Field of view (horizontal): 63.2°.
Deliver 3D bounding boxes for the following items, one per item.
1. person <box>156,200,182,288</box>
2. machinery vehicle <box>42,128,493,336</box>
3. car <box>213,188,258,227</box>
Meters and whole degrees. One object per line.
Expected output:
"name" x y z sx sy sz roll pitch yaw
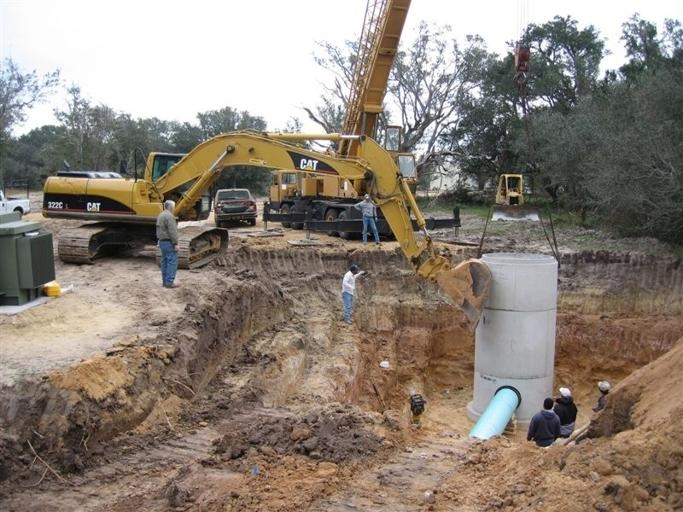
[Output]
"person" -3.918 -0.271 12.535 0.389 1.899 0.575 -3 12 -19
"machinery vehicle" -2.281 -1.133 14.466 11.784 4.527 1.447 6 33 16
"car" -4.684 -2.157 24.129 1.171 1.148 2.332 -1 9 -9
